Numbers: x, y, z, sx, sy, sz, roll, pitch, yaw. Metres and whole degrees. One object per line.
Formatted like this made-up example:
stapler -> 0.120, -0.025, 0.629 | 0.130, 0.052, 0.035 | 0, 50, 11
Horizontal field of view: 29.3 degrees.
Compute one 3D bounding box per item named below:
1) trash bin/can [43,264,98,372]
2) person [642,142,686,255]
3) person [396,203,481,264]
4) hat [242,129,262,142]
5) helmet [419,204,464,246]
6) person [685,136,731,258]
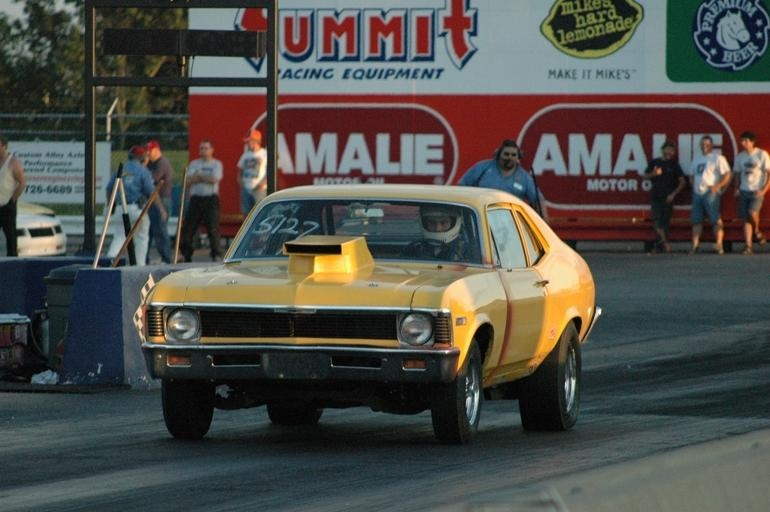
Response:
trash bin/can -> -3.693, 0.723, 17.000 | 0.484, 1.233, 1.208 | -4, 5, -16
person -> 5.220, -1.096, 27.329 | 0.705, 2.078, 0.813 | -2, 4, 16
person -> 0.631, -0.328, 14.862 | 0.593, 0.743, 0.860 | -3, -3, 13
hat -> -2.423, -2.172, 26.395 | 0.275, 0.166, 0.217 | 7, 6, 15
helmet -> 0.536, -0.391, 14.679 | 0.372, 0.511, 0.512 | 0, 13, 11
person -> 6.042, -1.230, 27.457 | 0.830, 2.055, 0.563 | 0, 5, 34
